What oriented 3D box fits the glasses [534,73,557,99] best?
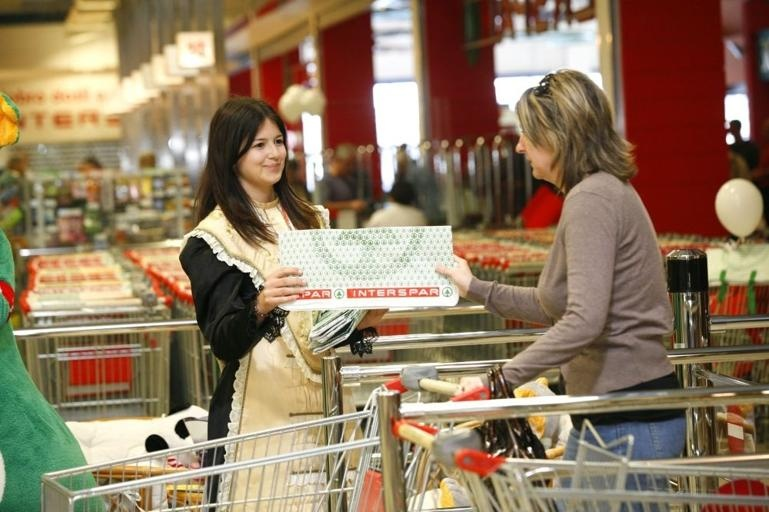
[{"bbox_3d":[0.615,-0.654,3.327,0.059,0.026,0.110,-7,46,45],"label":"glasses"}]

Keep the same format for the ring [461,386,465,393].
[{"bbox_3d":[0.277,0.487,3.093,0.017,0.019,0.008,-7,-33,18],"label":"ring"}]
